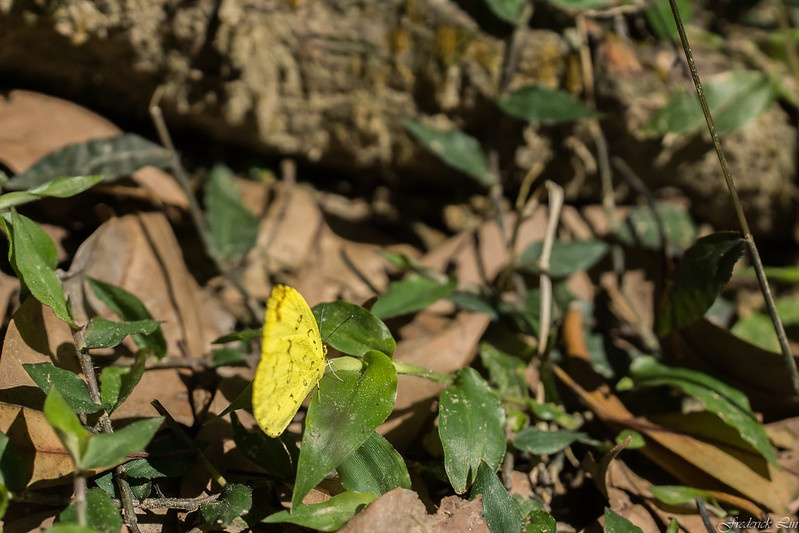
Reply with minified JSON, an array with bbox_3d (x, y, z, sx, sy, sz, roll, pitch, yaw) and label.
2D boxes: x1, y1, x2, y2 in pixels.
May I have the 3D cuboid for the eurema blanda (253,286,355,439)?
[{"bbox_3d":[-0.225,0.183,1.628,0.185,0.260,0.254,28,-10,-16],"label":"eurema blanda"}]
